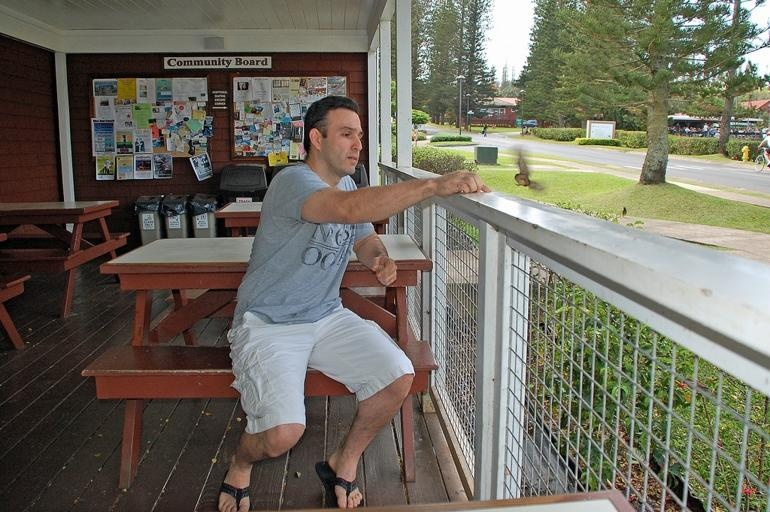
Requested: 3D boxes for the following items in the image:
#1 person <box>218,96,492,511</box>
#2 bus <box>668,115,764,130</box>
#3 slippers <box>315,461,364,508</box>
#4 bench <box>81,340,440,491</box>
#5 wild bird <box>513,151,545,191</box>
[{"bbox_3d":[-0.332,0.212,2.573,1.177,1.963,0.973,-7,19,-25],"label":"person"},{"bbox_3d":[8.298,-3.403,12.973,2.058,0.295,1.693,11,20,30],"label":"bus"},{"bbox_3d":[-0.251,1.118,2.506,0.268,0.088,0.154,53,32,12],"label":"slippers"},{"bbox_3d":[-0.601,0.728,2.710,1.980,0.715,0.659,-13,7,27],"label":"bench"},{"bbox_3d":[0.819,-0.490,2.938,0.154,0.237,0.514,4,17,12],"label":"wild bird"}]
